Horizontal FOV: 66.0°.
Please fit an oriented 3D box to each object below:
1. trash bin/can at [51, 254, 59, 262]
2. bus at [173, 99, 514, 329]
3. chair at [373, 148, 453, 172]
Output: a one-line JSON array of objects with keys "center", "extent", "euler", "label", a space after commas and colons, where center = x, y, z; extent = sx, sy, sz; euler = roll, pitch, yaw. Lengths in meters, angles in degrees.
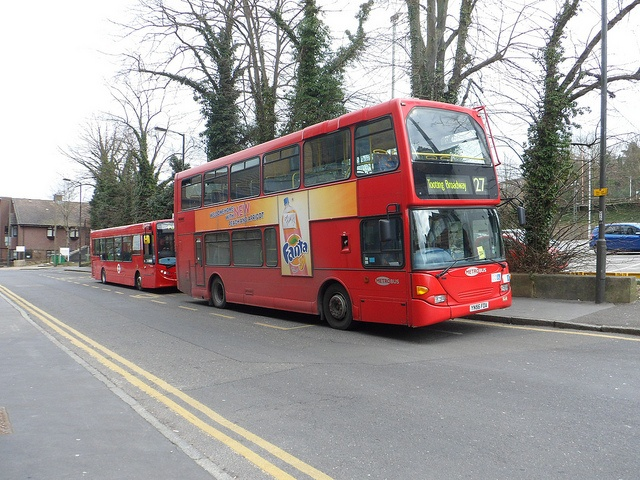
[{"center": [-37.251, 2.721, 69.297], "extent": [0.843, 1.445, 3.387], "euler": [-3, 4, -28], "label": "trash bin/can"}, {"center": [-0.406, -0.421, 14.716], "extent": [3.343, 5.051, 10.973], "euler": [-4, 1, -41], "label": "bus"}, {"center": [1.716, -1.489, 10.168], "extent": [0.648, 0.659, 1.260], "euler": [-4, 8, -36], "label": "chair"}]
